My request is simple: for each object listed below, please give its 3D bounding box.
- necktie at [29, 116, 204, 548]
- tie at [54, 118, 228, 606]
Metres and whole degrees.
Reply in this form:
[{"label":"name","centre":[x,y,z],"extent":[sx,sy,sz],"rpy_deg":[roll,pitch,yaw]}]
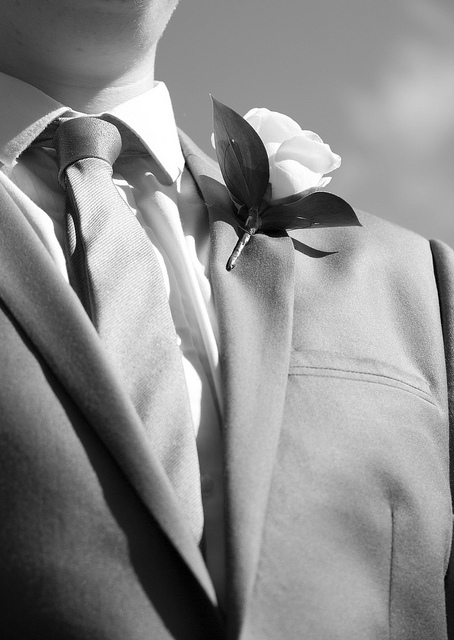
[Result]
[{"label":"necktie","centre":[-0.098,-0.017,0.589],"extent":[0.137,0.395,0.040],"rpy_deg":[0,-38,-22]},{"label":"tie","centre":[-0.115,-0.059,0.659],"extent":[0.092,0.634,0.063],"rpy_deg":[4,-39,-26]}]
